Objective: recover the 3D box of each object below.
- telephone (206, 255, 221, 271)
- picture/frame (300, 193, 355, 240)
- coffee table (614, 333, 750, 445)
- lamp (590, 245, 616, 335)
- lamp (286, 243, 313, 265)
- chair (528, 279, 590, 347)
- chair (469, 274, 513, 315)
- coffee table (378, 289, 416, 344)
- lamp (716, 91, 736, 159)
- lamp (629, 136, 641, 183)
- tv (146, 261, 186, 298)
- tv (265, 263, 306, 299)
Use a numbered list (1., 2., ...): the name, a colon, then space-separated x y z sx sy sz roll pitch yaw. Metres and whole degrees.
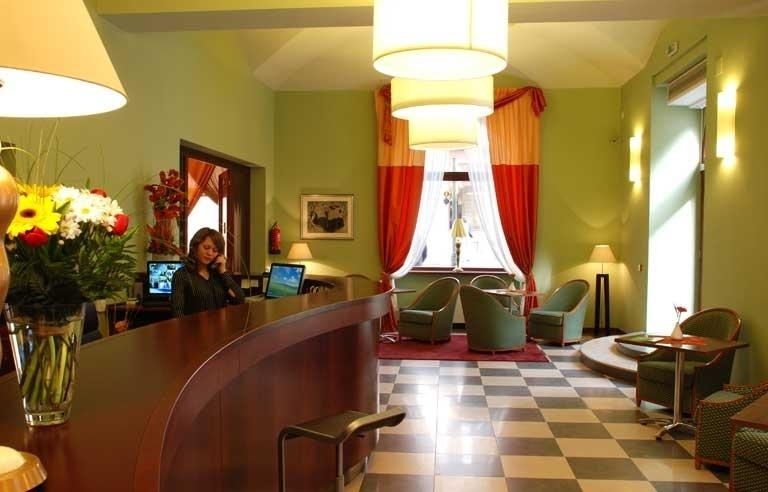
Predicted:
1. telephone: -1.412 0.147 4.571 0.093 0.124 0.046 6 -4 26
2. picture/frame: -1.067 -0.525 10.332 0.867 0.720 0.086 0 -4 -2
3. coffee table: 2.962 1.232 5.586 1.042 0.973 1.048 3 2 42
4. lamp: 3.870 0.775 9.773 0.415 1.579 0.790 2 6 24
5. lamp: -1.523 0.122 9.798 0.401 0.389 0.383 1 5 22
6. chair: 2.921 1.084 9.109 0.933 1.032 0.828 0 -1 -18
7. chair: 1.936 0.812 9.679 0.584 0.787 0.662 -1 -5 -10
8. coffee table: 0.117 1.083 9.623 1.025 0.976 0.923 0 8 3
9. lamp: 3.869 -1.388 6.262 0.154 0.841 0.281 1 5 12
10. lamp: 4.064 -1.394 8.933 0.143 0.785 0.263 1 5 15
11. tv: -2.253 0.352 5.662 0.415 0.377 0.222 0 0 -4
12. tv: -0.904 0.328 5.077 0.371 0.350 0.039 -3 -16 33
